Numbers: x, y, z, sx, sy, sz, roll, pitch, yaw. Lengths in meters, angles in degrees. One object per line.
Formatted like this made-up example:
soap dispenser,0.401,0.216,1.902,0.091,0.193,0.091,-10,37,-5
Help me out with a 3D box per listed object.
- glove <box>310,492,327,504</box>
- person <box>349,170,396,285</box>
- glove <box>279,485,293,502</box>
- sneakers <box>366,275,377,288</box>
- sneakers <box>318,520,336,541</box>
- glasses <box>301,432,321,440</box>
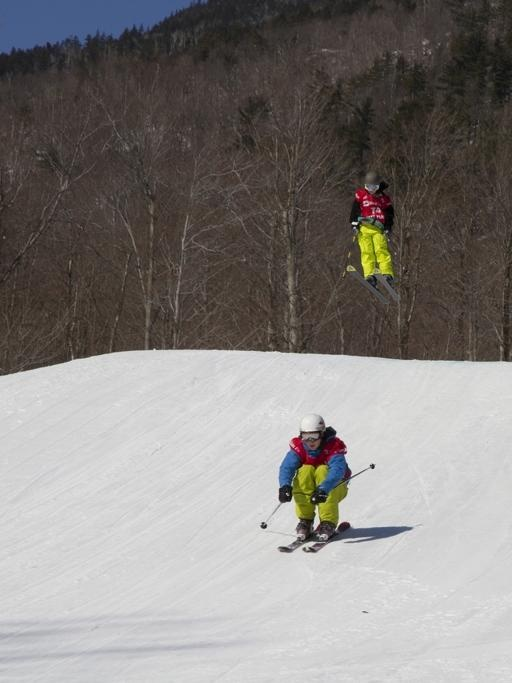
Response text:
glove,0.805,2.017,17.004,0.207,0.177,0.183,-2,4,2
person,2.046,-1.956,23.057,0.684,1.998,0.898,-5,5,-39
glove,0.377,1.961,16.977,0.127,0.209,0.081,-1,-11,22
sneakers,2.047,-1.068,23.456,0.133,0.211,0.174,-2,35,14
sneakers,0.924,2.476,17.183,0.239,0.247,0.245,-2,4,-3
glasses,0.708,1.241,17.220,0.128,0.092,0.168,-4,-7,11
